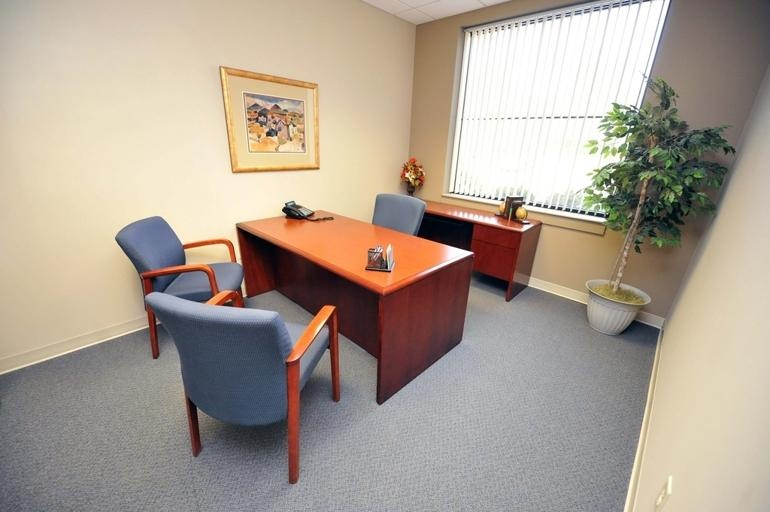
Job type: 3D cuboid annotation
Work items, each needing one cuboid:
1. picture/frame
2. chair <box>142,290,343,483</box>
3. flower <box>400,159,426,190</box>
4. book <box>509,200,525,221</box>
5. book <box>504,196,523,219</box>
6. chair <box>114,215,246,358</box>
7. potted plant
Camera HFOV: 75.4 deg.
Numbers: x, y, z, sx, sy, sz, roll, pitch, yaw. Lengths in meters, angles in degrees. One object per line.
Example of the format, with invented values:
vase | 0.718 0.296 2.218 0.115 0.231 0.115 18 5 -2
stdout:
picture/frame | -1.194 -1.413 5.012 1.014 0.899 0.041 -17 28 -39
chair | -1.016 0.836 4.076 1.077 1.652 1.424 8 23 10
flower | 0.356 -1.046 6.444 0.345 0.438 0.376 5 18 12
book | 1.467 -0.497 5.416 0.146 0.204 0.206 -7 20 -21
book | 1.400 -0.527 5.411 0.188 0.264 0.140 -7 17 -21
chair | -1.763 0.310 4.579 0.981 1.322 0.953 -12 24 -30
potted plant | 2.470 -0.428 4.714 1.141 2.385 0.732 13 21 31
